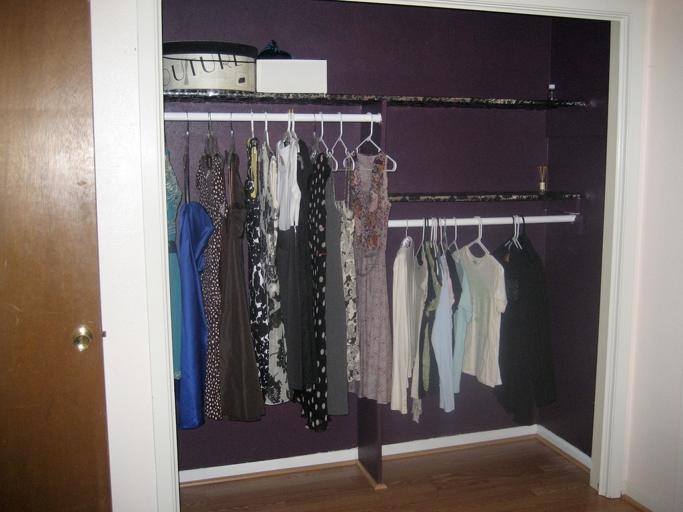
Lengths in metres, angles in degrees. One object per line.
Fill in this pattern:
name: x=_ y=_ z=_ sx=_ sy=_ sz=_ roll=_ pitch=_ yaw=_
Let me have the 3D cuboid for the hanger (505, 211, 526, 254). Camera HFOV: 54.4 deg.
hanger: x=0.985 y=-0.143 z=3.785 sx=0.106 sy=0.206 sz=0.277 roll=3 pitch=16 yaw=15

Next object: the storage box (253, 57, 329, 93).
storage box: x=-0.258 y=-0.919 z=3.416 sx=0.369 sy=0.165 sz=0.092 roll=-6 pitch=15 yaw=-17

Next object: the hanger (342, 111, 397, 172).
hanger: x=0.158 y=-0.580 z=3.575 sx=0.276 sy=0.367 sz=0.563 roll=0 pitch=16 yaw=5
